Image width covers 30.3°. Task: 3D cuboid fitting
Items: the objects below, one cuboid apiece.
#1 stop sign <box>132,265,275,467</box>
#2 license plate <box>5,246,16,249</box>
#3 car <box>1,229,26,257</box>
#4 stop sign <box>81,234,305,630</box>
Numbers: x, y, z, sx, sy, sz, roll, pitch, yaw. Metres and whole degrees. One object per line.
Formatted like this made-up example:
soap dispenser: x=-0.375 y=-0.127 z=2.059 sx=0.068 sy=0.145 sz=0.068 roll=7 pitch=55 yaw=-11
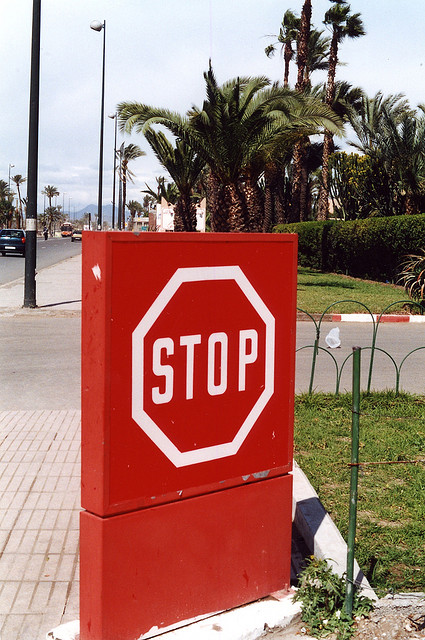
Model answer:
stop sign: x=-0.057 y=0.158 z=2.771 sx=0.013 sy=0.688 sz=0.550 roll=6 pitch=12 yaw=38
license plate: x=-10.010 y=-3.548 z=38.445 sx=0.453 sy=0.131 sz=0.128 roll=-1 pitch=8 yaw=-15
car: x=-9.982 y=-3.763 z=38.902 sx=1.109 sy=1.287 sz=2.203 roll=-1 pitch=9 yaw=-17
stop sign: x=-0.063 y=0.369 z=2.874 sx=0.714 sy=1.646 sz=0.151 roll=-8 pitch=24 yaw=-21
